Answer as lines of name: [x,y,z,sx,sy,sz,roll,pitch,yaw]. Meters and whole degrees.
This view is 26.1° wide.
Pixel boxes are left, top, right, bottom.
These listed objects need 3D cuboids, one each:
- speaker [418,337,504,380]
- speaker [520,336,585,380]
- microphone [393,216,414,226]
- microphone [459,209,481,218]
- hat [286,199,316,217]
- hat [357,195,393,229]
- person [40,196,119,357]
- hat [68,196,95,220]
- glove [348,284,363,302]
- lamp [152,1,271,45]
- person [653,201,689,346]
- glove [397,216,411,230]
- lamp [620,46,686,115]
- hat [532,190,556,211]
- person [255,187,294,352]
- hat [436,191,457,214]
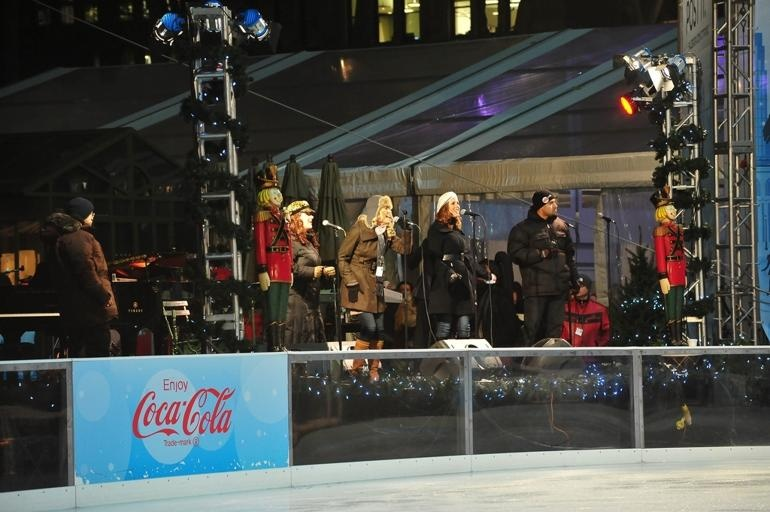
speaker: [0.860,1.361,21.710,0.642,0.319,0.638,4,-9,-24]
speaker: [2.116,1.379,22.481,0.954,0.540,1.733,-2,-3,-9]
microphone: [0.221,-0.500,23.468,0.191,0.072,0.145,7,0,14]
microphone: [1.159,-0.634,23.937,0.419,0.127,0.128,5,-25,43]
hat: [-1.271,-0.693,23.694,0.308,0.119,0.214,-6,-2,11]
hat: [-0.191,-0.715,24.475,0.380,0.484,0.556,3,-13,-40]
person: [-4.267,0.286,22.845,0.992,2.172,0.514,-5,-3,39]
hat: [-4.252,-0.675,23.101,0.351,0.278,0.352,5,22,-33]
glove: [-0.467,0.518,23.476,0.191,0.270,0.077,1,-1,-5]
lamp: [-2.423,-3.232,22.878,1.641,0.583,0.450,-2,-3,-7]
person: [4.094,0.178,23.777,0.421,2.166,0.229,-3,-3,4]
glove: [0.241,-0.487,23.554,0.193,0.196,0.348,-3,-3,1]
lamp: [3.943,-2.599,24.149,0.907,0.919,0.976,-33,25,-33]
hat: [2.239,-0.796,23.837,0.285,0.249,0.257,-37,-5,12]
person: [-1.566,0.165,23.116,0.445,2.260,0.517,-4,-3,24]
hat: [0.864,-0.779,23.765,0.294,0.325,0.323,-1,-4,-44]
